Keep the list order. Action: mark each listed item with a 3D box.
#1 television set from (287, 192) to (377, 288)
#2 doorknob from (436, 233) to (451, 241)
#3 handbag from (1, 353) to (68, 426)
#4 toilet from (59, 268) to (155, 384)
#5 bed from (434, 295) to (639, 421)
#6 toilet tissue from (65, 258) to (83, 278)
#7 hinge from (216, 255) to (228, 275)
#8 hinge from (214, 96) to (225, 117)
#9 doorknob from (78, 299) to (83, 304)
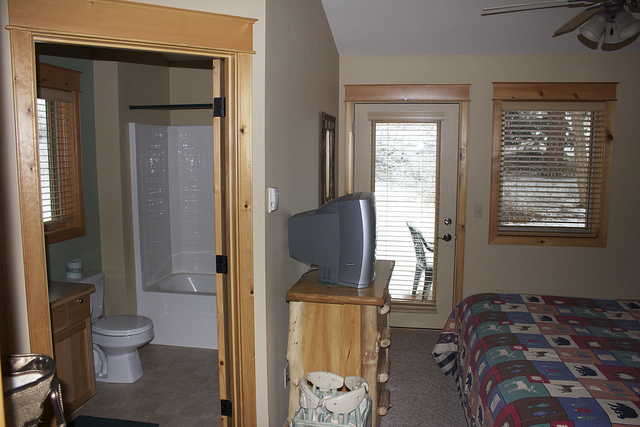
[{"bbox_3d":[0.055,0.143,3.604,0.657,0.622,0.661,0,8,2],"label":"television set"},{"bbox_3d":[1.356,0.257,5.381,0.078,0.069,0.138,-1,-5,35],"label":"doorknob"},{"bbox_3d":[-1.459,0.880,2.461,0.409,0.181,0.295,6,-2,-12],"label":"handbag"},{"bbox_3d":[-1.862,1.027,4.420,0.690,0.934,0.401,6,11,18],"label":"toilet"},{"bbox_3d":[1.637,1.117,3.515,1.068,0.252,1.061,-4,16,19],"label":"bed"},{"bbox_3d":[-2.184,0.503,4.449,0.124,0.164,0.174,0,-4,15],"label":"toilet tissue"},{"bbox_3d":[-0.647,0.335,3.234,0.106,0.109,0.026,1,9,15],"label":"hinge"},{"bbox_3d":[-0.653,-0.690,3.178,0.067,0.129,0.032,1,11,-5],"label":"hinge"},{"bbox_3d":[-1.929,0.703,3.943,0.042,0.025,0.042,3,-1,-39],"label":"doorknob"}]
